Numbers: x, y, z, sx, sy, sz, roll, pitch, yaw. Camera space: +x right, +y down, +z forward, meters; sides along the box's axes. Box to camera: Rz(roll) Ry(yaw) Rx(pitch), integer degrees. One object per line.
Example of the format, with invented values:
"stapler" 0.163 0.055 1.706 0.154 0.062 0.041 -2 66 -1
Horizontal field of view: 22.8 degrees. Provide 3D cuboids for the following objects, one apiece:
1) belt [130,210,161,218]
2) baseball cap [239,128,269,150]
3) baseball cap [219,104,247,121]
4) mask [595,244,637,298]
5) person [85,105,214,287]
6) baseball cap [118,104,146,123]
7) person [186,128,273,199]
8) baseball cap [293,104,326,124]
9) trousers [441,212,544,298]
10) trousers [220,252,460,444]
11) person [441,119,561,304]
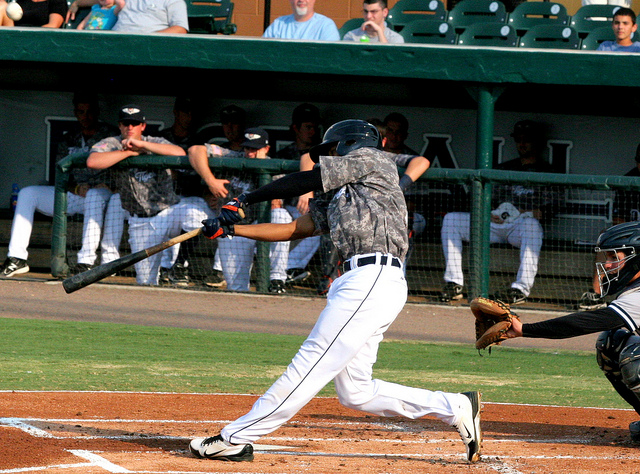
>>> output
"belt" -1.713 -0.221 15.688 0.295 0.070 0.033 2 0 13
"baseball cap" -0.647 -0.958 15.673 0.294 0.199 0.256 3 0 -33
"baseball cap" -0.865 -1.236 16.048 0.229 0.150 0.259 3 0 -11
"mask" 2.295 0.262 12.567 0.220 0.408 0.319 3 0 -23
"person" -1.619 -0.510 15.741 1.324 1.906 0.958 -2 23 -23
"baseball cap" -1.850 -1.245 15.777 0.295 0.153 0.340 0 -5 -1
"person" -0.879 -0.698 15.718 0.881 0.687 0.511 2 17 -5
"baseball cap" -0.085 -1.234 16.173 0.327 0.139 0.211 0 1 -18
"trousers" 1.733 -0.018 15.579 1.052 0.996 1.019 5 23 23
"trousers" 0.210 0.857 12.165 1.756 1.395 0.286 3 1 -12
"person" 1.874 -0.252 15.817 1.285 1.673 0.869 9 15 24
